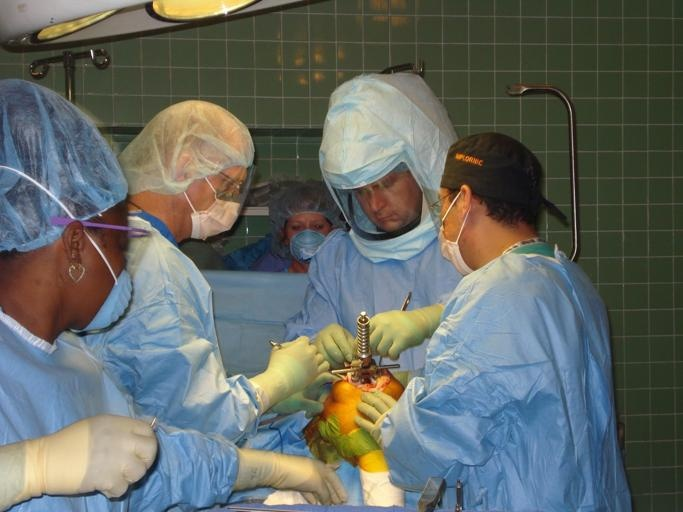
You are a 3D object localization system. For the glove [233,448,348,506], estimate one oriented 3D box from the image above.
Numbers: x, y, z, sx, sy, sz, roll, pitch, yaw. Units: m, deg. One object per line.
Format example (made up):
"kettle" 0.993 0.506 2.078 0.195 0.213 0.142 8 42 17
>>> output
"glove" -0.195 0.862 3.675 0.503 0.182 0.201 11 24 -12

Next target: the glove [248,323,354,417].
"glove" -0.153 0.493 3.898 0.292 0.150 0.171 -25 11 0

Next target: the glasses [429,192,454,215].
"glasses" 0.401 -0.213 3.679 0.025 0.094 0.080 19 -16 -25

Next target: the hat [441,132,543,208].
"hat" 0.563 -0.320 3.474 0.314 0.218 0.254 15 6 13

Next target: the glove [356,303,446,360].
"glove" 0.241 0.294 3.848 0.262 0.118 0.202 -29 35 -20

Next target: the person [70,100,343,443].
"person" -0.643 0.131 4.239 1.050 1.527 1.478 -2 5 -16

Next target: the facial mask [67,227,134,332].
"facial mask" -0.859 0.112 3.230 0.276 0.244 0.244 28 0 -19

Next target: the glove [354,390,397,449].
"glove" 0.133 0.621 3.598 0.136 0.082 0.179 -36 59 -19

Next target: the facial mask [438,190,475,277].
"facial mask" 0.477 -0.082 3.574 0.088 0.265 0.226 -12 2 25
